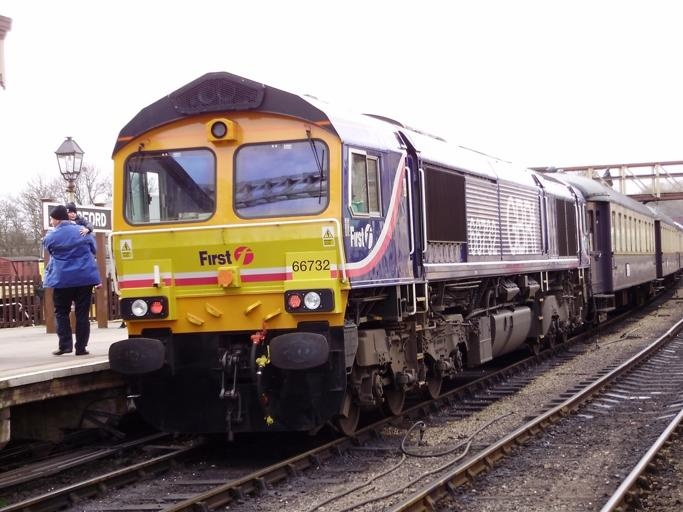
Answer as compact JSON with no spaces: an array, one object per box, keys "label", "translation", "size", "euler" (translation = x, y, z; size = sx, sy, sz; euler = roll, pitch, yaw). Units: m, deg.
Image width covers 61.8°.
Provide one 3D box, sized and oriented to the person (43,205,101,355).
[{"label":"person","translation":[-4.119,0.363,8.672],"size":[0.752,2.287,0.714],"euler":[0,-2,-28]}]
